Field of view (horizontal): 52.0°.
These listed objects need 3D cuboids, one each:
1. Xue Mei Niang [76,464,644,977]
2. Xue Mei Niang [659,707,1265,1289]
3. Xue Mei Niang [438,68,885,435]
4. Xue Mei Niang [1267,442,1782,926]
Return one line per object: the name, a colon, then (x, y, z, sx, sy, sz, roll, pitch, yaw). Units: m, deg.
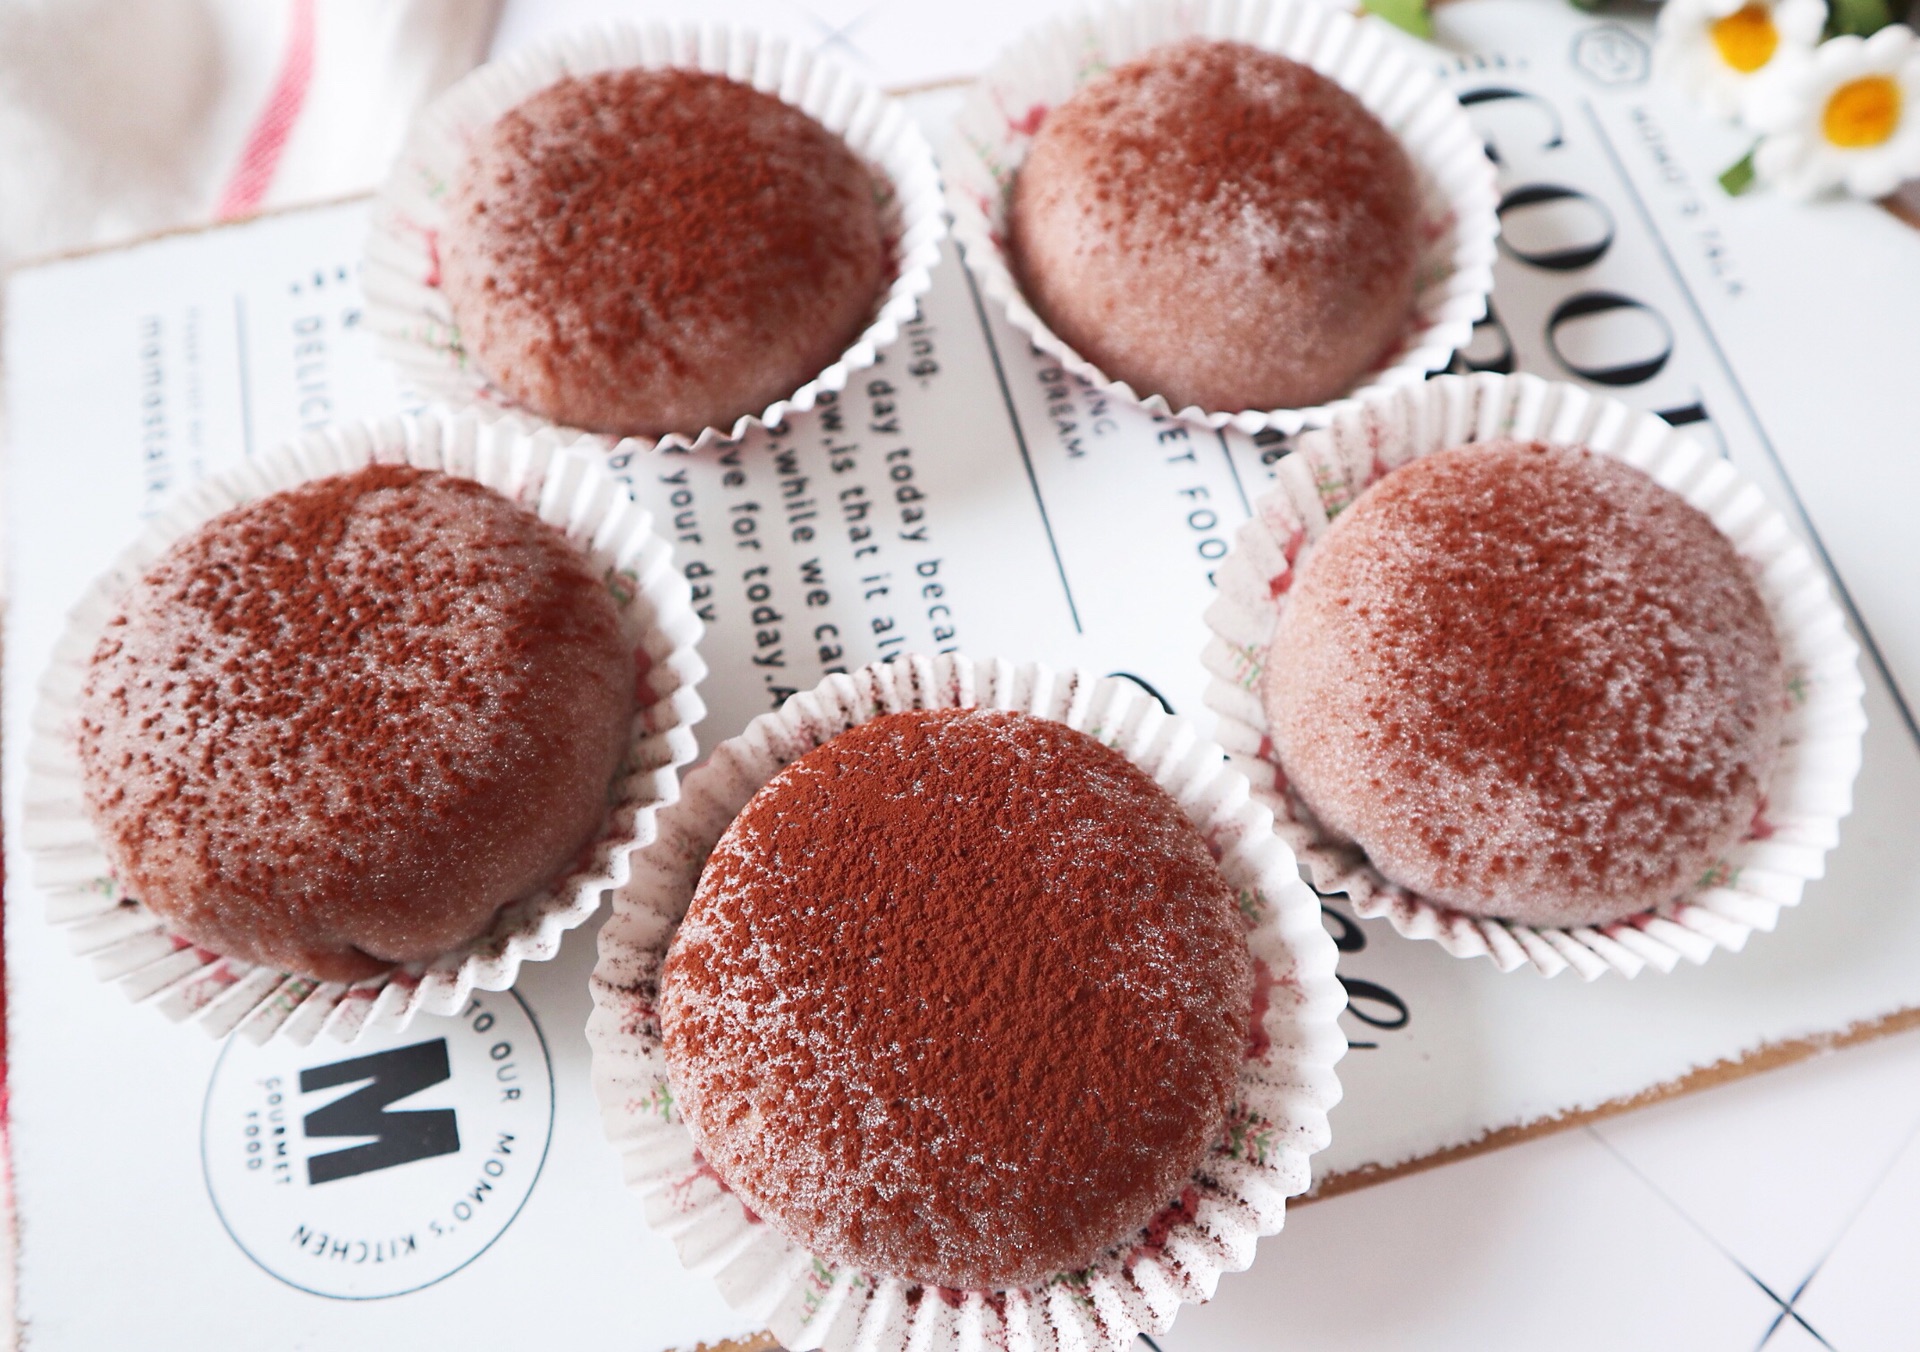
Xue Mei Niang: (-0.652, 0.042, 2.136, 0.573, 0.140, 0.529, -17, 80, -2)
Xue Mei Niang: (-0.004, 0.319, 2.006, 0.601, 0.101, 0.578, -1, 80, 1)
Xue Mei Niang: (-0.348, -0.497, 2.279, 0.402, 0.212, 0.461, 6, 70, -4)
Xue Mei Niang: (0.619, 0.005, 2.198, 0.456, 0.243, 0.524, -16, 79, -1)
